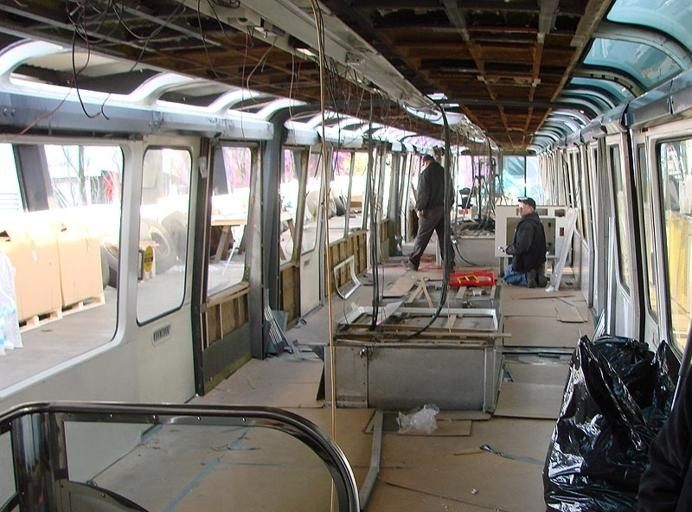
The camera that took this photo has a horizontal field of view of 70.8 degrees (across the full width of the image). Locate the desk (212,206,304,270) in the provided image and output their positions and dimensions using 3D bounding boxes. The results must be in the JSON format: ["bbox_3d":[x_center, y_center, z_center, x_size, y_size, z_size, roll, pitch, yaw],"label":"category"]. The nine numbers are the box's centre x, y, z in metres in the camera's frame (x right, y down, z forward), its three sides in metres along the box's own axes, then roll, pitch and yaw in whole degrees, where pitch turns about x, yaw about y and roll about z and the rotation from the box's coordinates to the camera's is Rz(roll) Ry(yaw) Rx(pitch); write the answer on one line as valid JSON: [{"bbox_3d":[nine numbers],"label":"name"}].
[{"bbox_3d":[-1.511,-0.436,7.959,1.142,1.095,0.900,3,7,5],"label":"desk"}]

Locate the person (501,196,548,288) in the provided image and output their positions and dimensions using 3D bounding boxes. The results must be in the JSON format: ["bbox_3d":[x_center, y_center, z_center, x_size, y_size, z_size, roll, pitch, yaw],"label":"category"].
[{"bbox_3d":[4.005,-0.344,10.979,1.033,1.894,1.062,3,13,25],"label":"person"}]

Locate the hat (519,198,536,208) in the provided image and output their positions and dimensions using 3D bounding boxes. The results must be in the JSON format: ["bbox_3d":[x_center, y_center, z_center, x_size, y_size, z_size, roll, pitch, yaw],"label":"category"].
[{"bbox_3d":[4.023,-1.168,10.765,0.293,0.246,0.585,1,6,16],"label":"hat"}]

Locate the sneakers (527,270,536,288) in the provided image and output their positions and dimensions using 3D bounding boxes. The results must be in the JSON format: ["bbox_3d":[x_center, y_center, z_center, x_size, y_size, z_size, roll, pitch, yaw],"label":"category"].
[{"bbox_3d":[4.115,0.498,10.760,0.143,0.397,0.178,2,-5,-11],"label":"sneakers"}]
